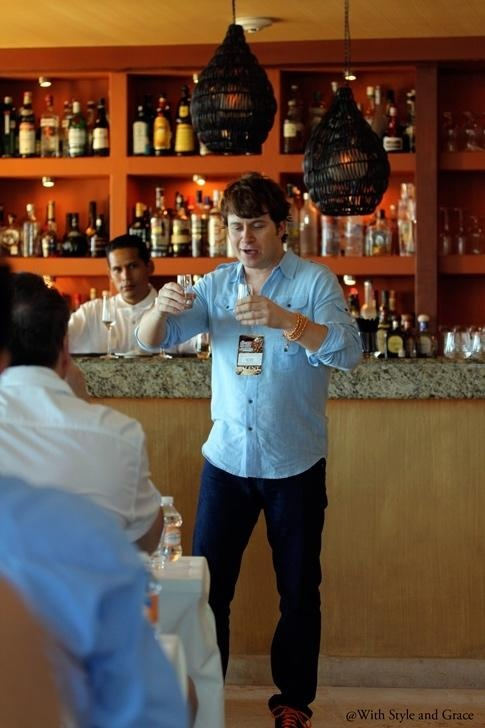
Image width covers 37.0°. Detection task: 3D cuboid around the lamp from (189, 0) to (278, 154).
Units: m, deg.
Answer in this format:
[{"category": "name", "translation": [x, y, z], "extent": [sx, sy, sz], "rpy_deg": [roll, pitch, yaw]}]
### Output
[{"category": "lamp", "translation": [-0.037, -0.992, 2.581], "extent": [0.307, 0.375, 0.259], "rpy_deg": [-1, 1, 2]}]

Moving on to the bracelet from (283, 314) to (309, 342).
[{"category": "bracelet", "translation": [0.139, -0.096, 1.830], "extent": [0.025, 0.061, 0.062], "rpy_deg": [33, 27, -28]}]

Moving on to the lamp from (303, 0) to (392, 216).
[{"category": "lamp", "translation": [0.398, -0.824, 2.800], "extent": [0.330, 0.450, 0.262], "rpy_deg": [-1, 1, 33]}]
